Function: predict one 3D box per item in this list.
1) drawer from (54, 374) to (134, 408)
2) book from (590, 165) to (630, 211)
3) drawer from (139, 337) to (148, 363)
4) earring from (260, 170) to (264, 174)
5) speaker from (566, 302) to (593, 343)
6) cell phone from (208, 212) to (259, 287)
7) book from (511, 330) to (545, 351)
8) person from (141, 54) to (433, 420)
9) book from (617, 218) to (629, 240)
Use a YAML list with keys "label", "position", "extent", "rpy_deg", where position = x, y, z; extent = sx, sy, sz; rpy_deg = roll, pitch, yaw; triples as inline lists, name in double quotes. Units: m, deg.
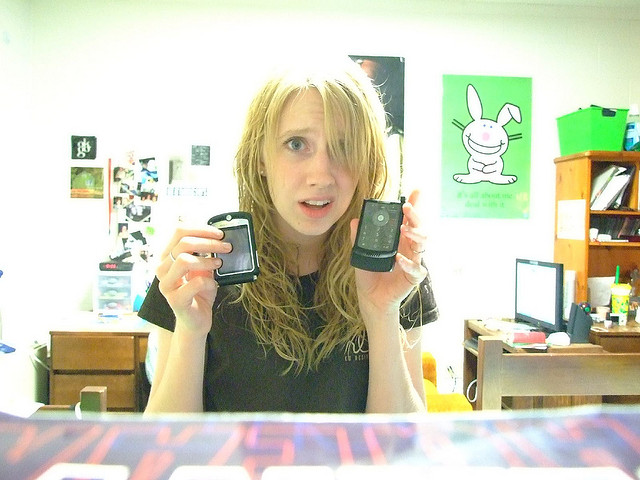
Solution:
- label: "drawer"
  position: [-1.232, 0.827, 3.169]
  extent: [0.434, 0.189, 0.048]
  rpy_deg: [0, 5, -2]
- label: "book"
  position: [1.730, -0.307, 3.496]
  extent: [0.213, 0.262, 0.166]
  rpy_deg: [4, 6, 38]
- label: "drawer"
  position: [-0.965, 0.601, 3.152]
  extent: [0.040, 0.135, 0.059]
  rpy_deg: [-1, 5, -9]
- label: "earring"
  position: [-0.184, -0.213, 1.825]
  extent: [0.013, 0.012, 0.005]
  rpy_deg: [1, 5, 13]
- label: "speaker"
  position: [1.461, 0.447, 3.222]
  extent: [0.117, 0.209, 0.151]
  rpy_deg: [8, 14, 28]
- label: "cell phone"
  position: [-0.252, 0.027, 1.676]
  extent: [0.141, 0.211, 0.023]
  rpy_deg: [-8, -2, -16]
- label: "book"
  position: [1.084, 0.519, 3.034]
  extent: [0.107, 0.068, 0.109]
  rpy_deg: [-1, 1, 10]
- label: "person"
  position: [-0.084, -0.010, 1.793]
  extent: [0.891, 1.101, 0.287]
  rpy_deg: [-1, 5, -7]
- label: "book"
  position: [1.853, -0.062, 3.561]
  extent: [0.038, 0.142, 0.021]
  rpy_deg: [19, 21, 4]
